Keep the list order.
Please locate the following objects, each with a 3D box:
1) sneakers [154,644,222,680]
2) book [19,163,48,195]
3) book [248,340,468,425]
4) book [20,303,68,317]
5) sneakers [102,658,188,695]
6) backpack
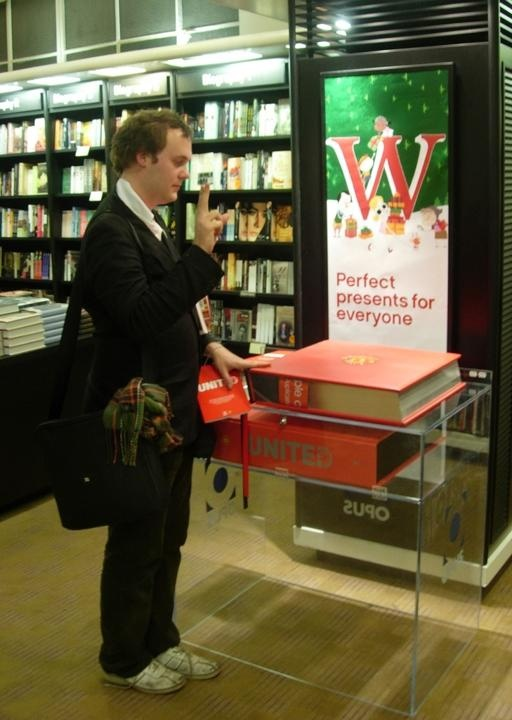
[{"bbox_3d":[-0.194,0.842,1.646,0.161,0.063,0.080,4,7,9],"label":"sneakers"},{"bbox_3d":[-2.108,-1.720,5.481,0.216,0.295,0.307,1,12,1],"label":"book"},{"bbox_3d":[0.272,0.047,1.588,0.481,0.136,0.518,3,9,37],"label":"book"},{"bbox_3d":[-1.076,-0.252,2.912,0.136,0.034,0.139,4,9,21],"label":"book"},{"bbox_3d":[-0.313,0.877,1.636,0.221,0.088,0.088,-1,-1,6],"label":"sneakers"},{"bbox_3d":[-0.383,0.048,1.343,0.226,0.765,0.192,-3,5,-9],"label":"backpack"}]
